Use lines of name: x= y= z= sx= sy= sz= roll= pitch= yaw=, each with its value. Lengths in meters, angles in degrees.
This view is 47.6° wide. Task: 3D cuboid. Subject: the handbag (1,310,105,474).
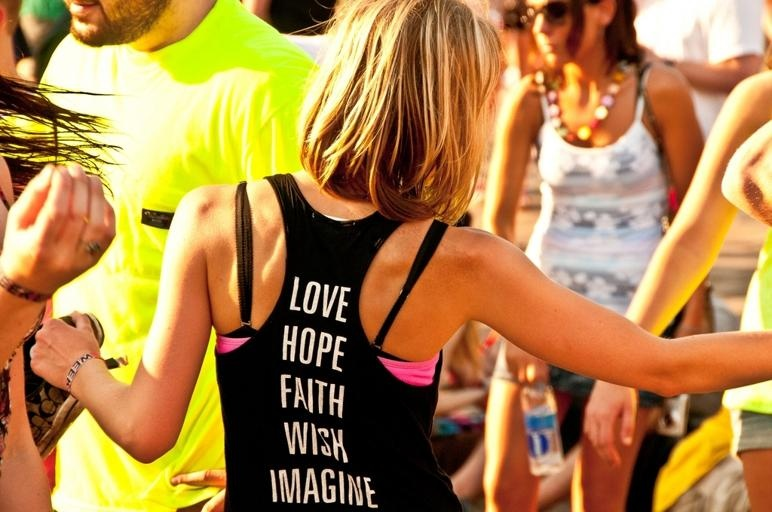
handbag: x=-1.096 y=0.481 z=2.855 sx=0.176 sy=0.566 sz=0.215 roll=23 pitch=2 yaw=17
